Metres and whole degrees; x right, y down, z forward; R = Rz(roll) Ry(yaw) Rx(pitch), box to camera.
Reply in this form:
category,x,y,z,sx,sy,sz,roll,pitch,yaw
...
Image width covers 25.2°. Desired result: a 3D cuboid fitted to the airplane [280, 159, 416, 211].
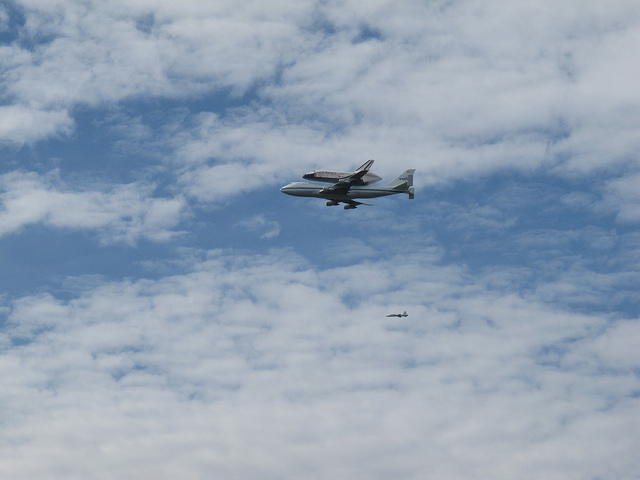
category,x,y,z,sx,sy,sz,roll,pitch,yaw
airplane,7.199,-14.673,382.618,36.160,7.186,26.367,1,-20,2
